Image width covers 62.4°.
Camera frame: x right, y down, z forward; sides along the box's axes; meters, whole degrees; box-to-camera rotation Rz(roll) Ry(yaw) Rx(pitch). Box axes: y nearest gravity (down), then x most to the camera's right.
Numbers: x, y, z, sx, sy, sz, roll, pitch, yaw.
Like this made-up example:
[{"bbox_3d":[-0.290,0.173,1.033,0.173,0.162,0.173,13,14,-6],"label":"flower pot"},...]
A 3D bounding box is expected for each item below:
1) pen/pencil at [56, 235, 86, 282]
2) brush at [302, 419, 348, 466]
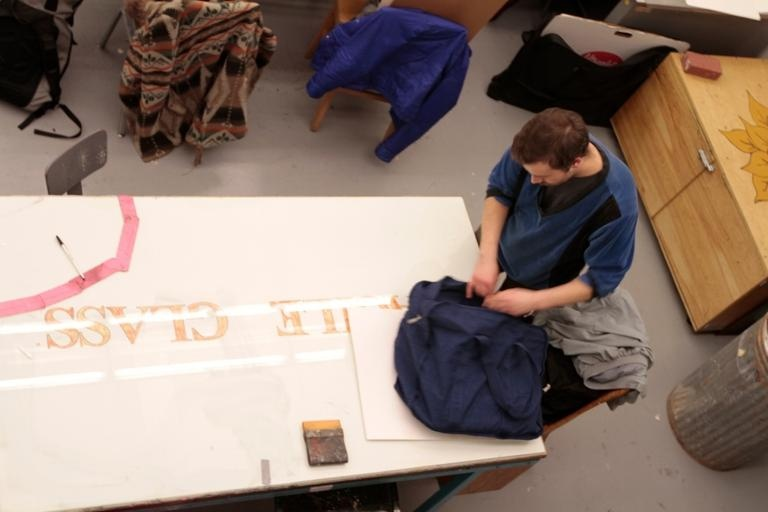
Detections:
[{"bbox_3d":[-1.464,0.021,2.948,0.024,0.025,0.228,-27,81,-11],"label":"pen/pencil"},{"bbox_3d":[-0.261,0.820,2.799,0.172,0.049,0.215,-7,60,-20],"label":"brush"}]
